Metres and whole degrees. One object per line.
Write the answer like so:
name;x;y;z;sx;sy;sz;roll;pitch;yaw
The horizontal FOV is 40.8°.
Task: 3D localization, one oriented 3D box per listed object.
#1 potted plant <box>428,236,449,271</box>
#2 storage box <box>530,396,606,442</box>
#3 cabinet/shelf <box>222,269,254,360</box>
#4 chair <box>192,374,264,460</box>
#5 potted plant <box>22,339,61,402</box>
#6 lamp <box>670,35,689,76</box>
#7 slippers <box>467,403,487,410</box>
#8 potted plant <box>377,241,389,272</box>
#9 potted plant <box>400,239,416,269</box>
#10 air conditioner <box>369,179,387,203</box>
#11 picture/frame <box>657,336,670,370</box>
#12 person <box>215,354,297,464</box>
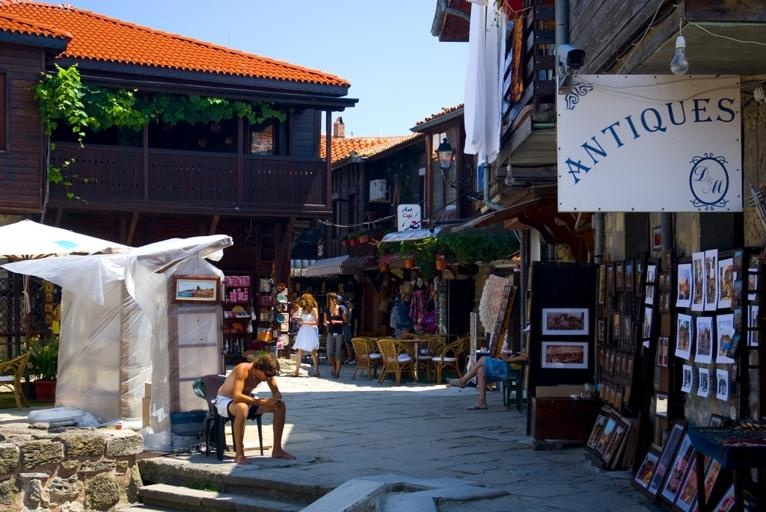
potted plant;1.279;-0.028;22.995;0.395;0.631;0.355;-11;4;-30
storage box;2.269;2.225;14.280;0.933;0.561;0.507;8;-6;-39
cabinet/shelf;-3.495;1.499;24.831;0.763;2.150;0.460;1;-4;-17
chair;-2.102;2.181;14.193;0.979;1.126;0.956;13;-18;-33
potted plant;-6.196;2.012;18.326;0.629;1.038;0.697;-9;-10;-30
lamp;3.154;-2.127;10.967;0.157;0.447;0.598;-1;-4;16
slippers;1.574;2.523;17.250;0.306;0.117;0.110;3;-8;-9
potted plant;0.000;-0.016;26.662;0.269;0.706;0.675;0;-4;0
potted plant;0.664;-0.073;24.114;0.507;0.777;0.507;-2;1;-5
air conditioner;-0.158;-2.029;31.574;0.347;0.671;0.661;4;-7;-22
picture/frame;3.438;1.177;12.630;0.142;0.373;0.386;2;-7;11
person;-1.825;2.018;13.884;1.076;1.421;0.978;1;-3;31
